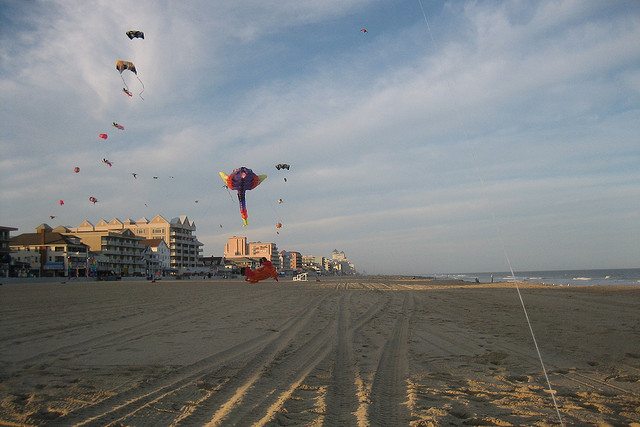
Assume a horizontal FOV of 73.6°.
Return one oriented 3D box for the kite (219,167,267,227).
[{"bbox_3d":[-5.564,-0.962,31.399,3.649,5.172,1.317,0,-34,-15],"label":"kite"}]
